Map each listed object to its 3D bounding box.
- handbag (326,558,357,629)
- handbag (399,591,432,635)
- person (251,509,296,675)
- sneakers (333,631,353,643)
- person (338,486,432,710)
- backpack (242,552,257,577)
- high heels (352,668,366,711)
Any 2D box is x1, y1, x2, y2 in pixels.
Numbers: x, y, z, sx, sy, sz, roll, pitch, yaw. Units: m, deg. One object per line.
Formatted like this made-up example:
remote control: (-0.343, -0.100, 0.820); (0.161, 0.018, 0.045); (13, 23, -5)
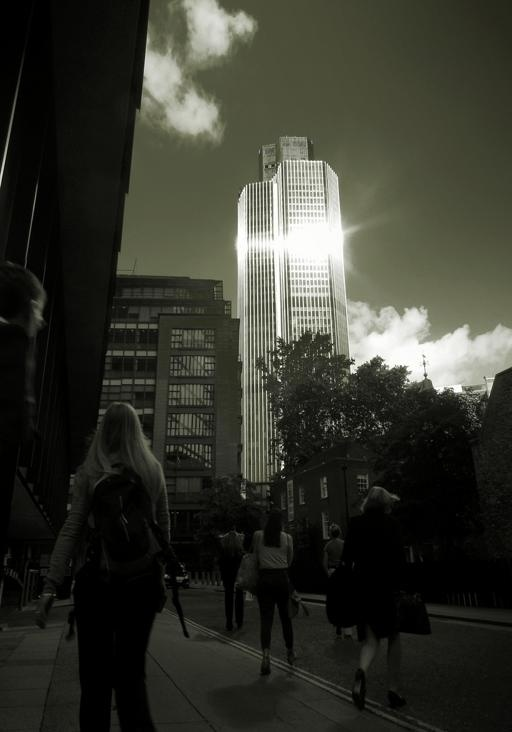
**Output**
handbag: (0.719, 1.907, 4.557); (0.264, 0.535, 0.446); (1, -4, 9)
handbag: (1.276, 1.989, 4.330); (0.202, 0.347, 0.402); (-9, -15, 32)
person: (0.193, 2.474, 5.997); (0.444, 1.705, 1.469); (-1, -12, 3)
sneakers: (1.357, 4.160, 8.360); (0.115, 0.183, 0.412); (3, -23, -4)
person: (0.966, 1.793, 4.379); (0.811, 1.612, 0.622); (4, -12, -21)
backpack: (-0.061, 2.211, 6.011); (0.139, 0.300, 0.139); (-2, -6, 11)
high heels: (0.728, 2.305, 3.881); (0.075, 0.328, 0.109); (-6, -11, 43)
